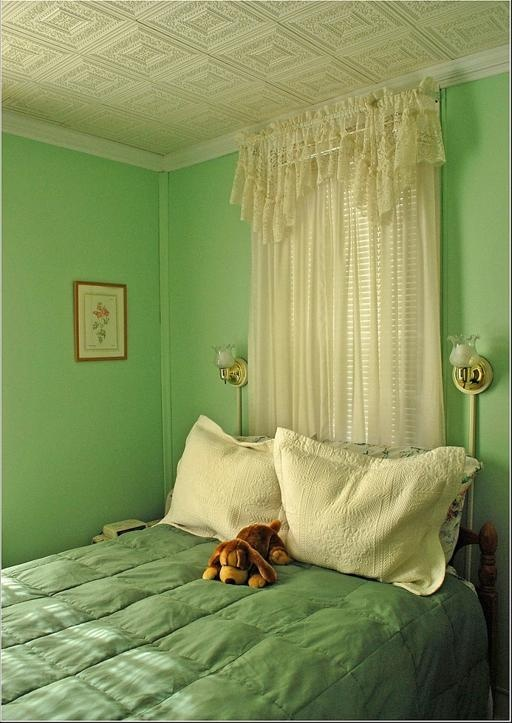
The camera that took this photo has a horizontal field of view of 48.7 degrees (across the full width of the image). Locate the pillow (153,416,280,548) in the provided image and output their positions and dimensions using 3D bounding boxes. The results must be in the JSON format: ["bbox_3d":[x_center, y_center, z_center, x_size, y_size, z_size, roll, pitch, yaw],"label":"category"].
[{"bbox_3d":[-0.156,0.520,2.463,0.186,0.444,0.603,19,-13,-30],"label":"pillow"}]

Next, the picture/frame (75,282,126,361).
[{"bbox_3d":[-0.838,-0.217,3.006,0.030,0.456,0.386,6,9,36],"label":"picture/frame"}]

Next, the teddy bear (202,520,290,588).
[{"bbox_3d":[-0.003,0.663,2.018,0.264,0.143,0.406,-3,4,23],"label":"teddy bear"}]
